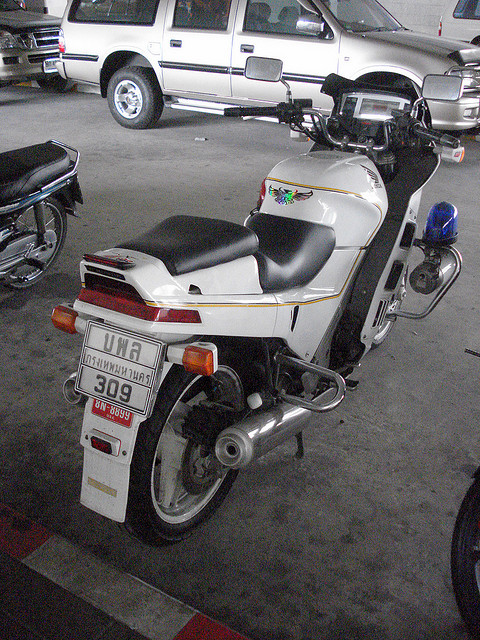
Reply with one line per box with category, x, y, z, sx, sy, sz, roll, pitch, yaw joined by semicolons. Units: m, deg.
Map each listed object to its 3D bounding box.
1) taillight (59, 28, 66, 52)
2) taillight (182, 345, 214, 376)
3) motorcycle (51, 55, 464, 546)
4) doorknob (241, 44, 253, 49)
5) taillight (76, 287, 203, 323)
taillight;-2.717;-4.245;7.753;0.198;0.255;0.092;4;7;39
taillight;-0.101;0.099;1.241;0.082;0.080;0.052;-6;13;-24
motorcycle;0.249;-0.230;2.123;0.842;1.416;2.373;16;34;30
doorknob;0.087;-3.584;6.692;0.157;0.052;0.023;11;23;8
taillight;-0.283;-0.044;1.333;0.349;0.066;0.136;16;24;20
